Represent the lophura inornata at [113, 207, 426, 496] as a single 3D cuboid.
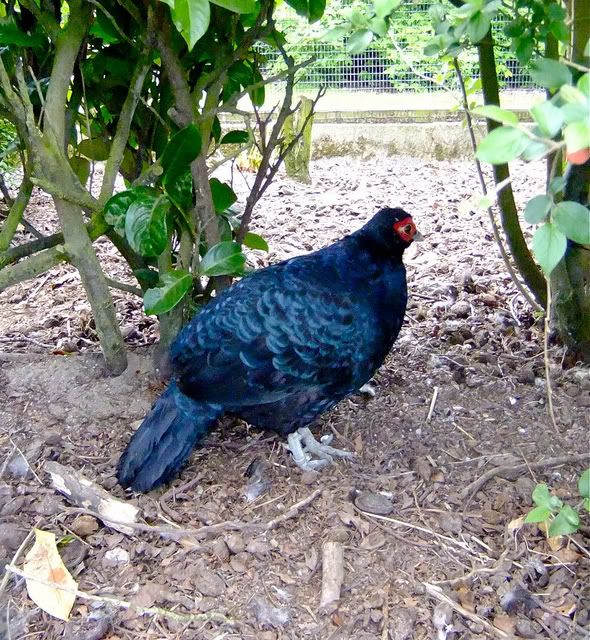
[{"bbox_3d":[-0.045,0.168,2.423,1.384,0.821,0.444,-19,30,-20],"label":"lophura inornata"}]
